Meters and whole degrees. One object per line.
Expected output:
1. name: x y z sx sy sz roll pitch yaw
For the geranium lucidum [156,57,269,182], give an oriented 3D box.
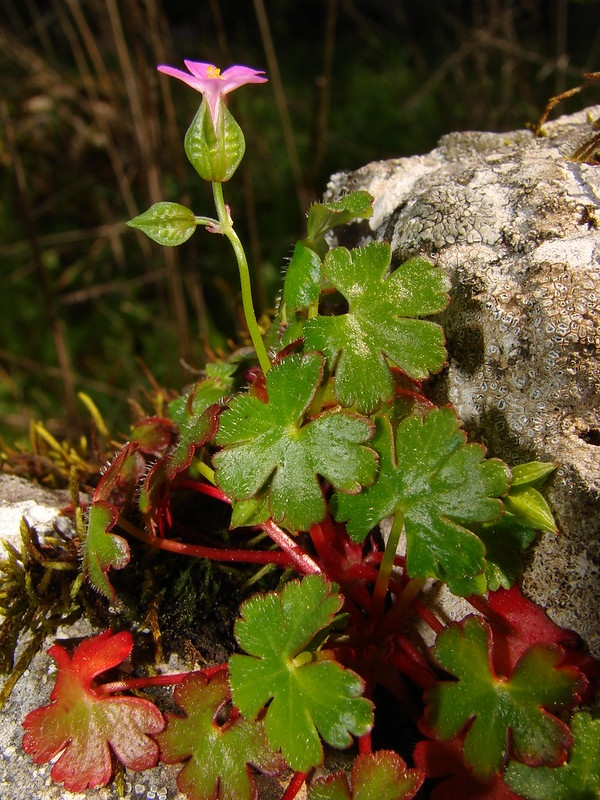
1. geranium lucidum: -0.175 -0.568 1.485 0.244 0.228 0.247 5 17 39
